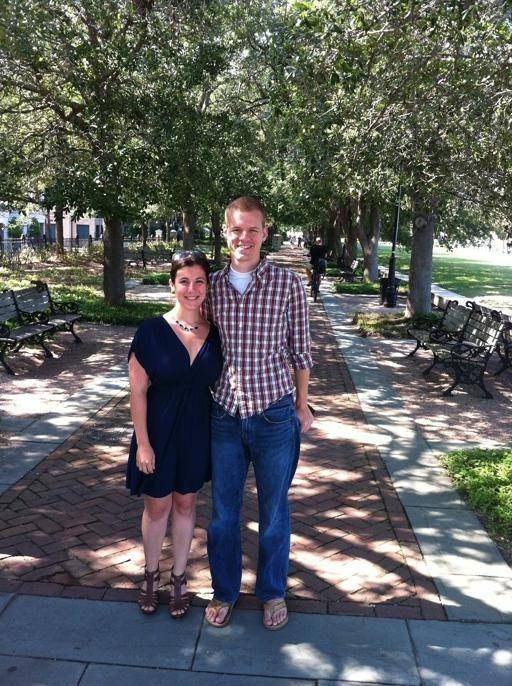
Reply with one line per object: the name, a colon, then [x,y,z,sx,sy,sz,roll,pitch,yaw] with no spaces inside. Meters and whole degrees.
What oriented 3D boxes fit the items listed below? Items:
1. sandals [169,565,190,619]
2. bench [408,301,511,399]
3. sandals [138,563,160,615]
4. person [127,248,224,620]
sandals: [-0.363,1.204,2.624,0.072,0.094,0.228,0,-4,-5]
bench: [3.562,0.177,9.544,0.679,0.871,1.776,1,12,0]
sandals: [-0.508,1.195,2.603,0.075,0.099,0.241,2,-8,-4]
person: [-0.386,0.581,2.518,0.409,1.408,0.278,1,6,-13]
